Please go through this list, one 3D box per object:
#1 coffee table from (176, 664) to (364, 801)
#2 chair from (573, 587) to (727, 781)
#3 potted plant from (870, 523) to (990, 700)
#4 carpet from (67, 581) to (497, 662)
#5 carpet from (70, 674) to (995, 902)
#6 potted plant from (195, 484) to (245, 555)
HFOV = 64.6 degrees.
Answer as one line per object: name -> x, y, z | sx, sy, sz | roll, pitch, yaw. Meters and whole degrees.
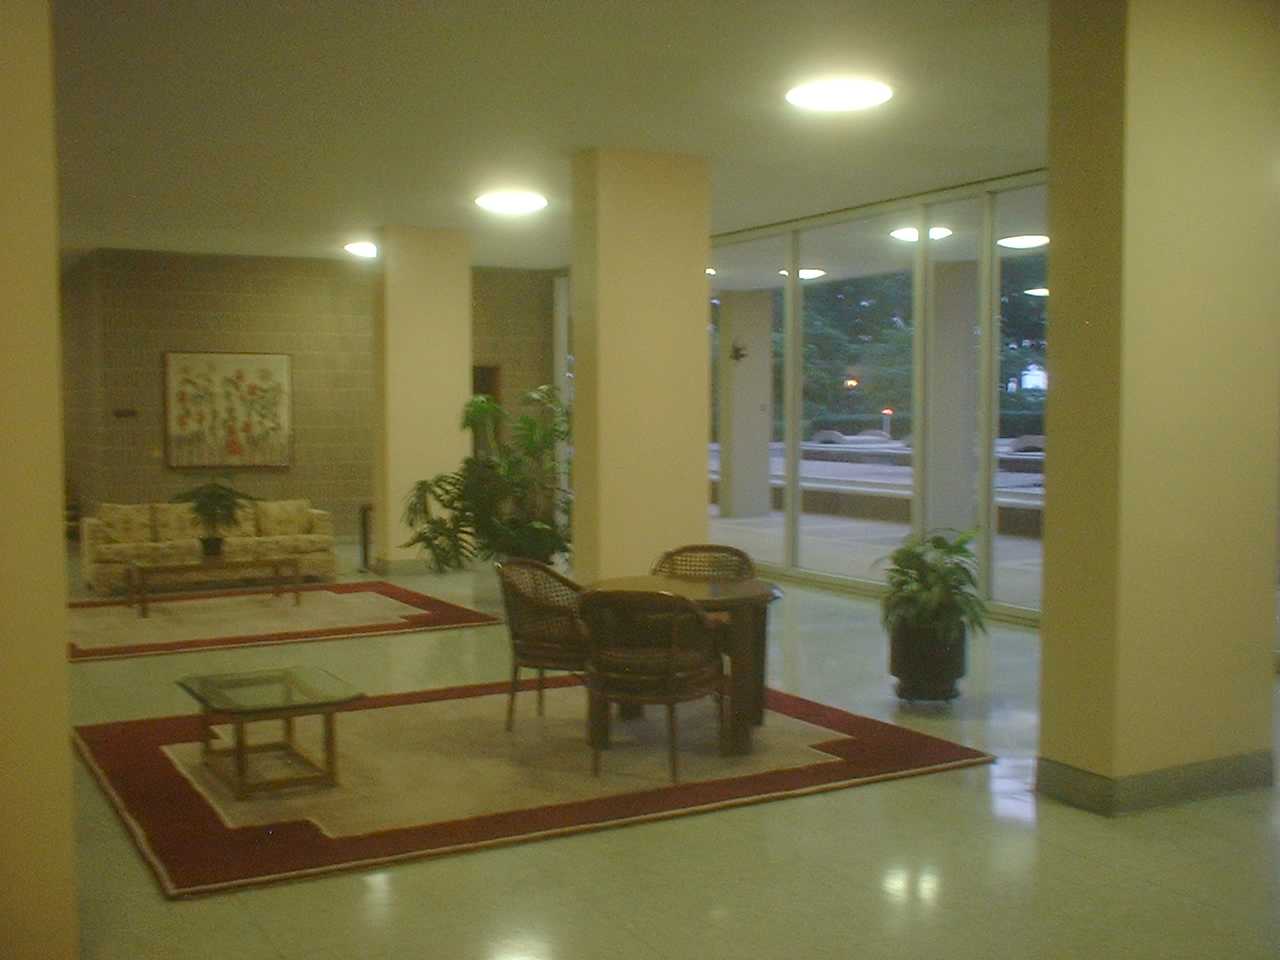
coffee table -> -1.541, 1.045, 4.204 | 0.617, 0.332, 0.711 | 3, 1, -35
chair -> 0.044, 0.779, 4.511 | 0.755, 0.957, 0.741 | 1, 5, 21
potted plant -> 1.560, 0.714, 5.435 | 0.511, 0.891, 0.434 | 1, 5, 14
carpet -> -2.826, 1.028, 7.826 | 2.780, 0.066, 2.475 | -2, 4, -27
carpet -> -0.552, 1.208, 4.612 | 3.836, 0.041, 2.105 | -1, 4, -20
potted plant -> -3.442, 0.338, 8.278 | 0.460, 0.577, 0.525 | -5, 11, -31
